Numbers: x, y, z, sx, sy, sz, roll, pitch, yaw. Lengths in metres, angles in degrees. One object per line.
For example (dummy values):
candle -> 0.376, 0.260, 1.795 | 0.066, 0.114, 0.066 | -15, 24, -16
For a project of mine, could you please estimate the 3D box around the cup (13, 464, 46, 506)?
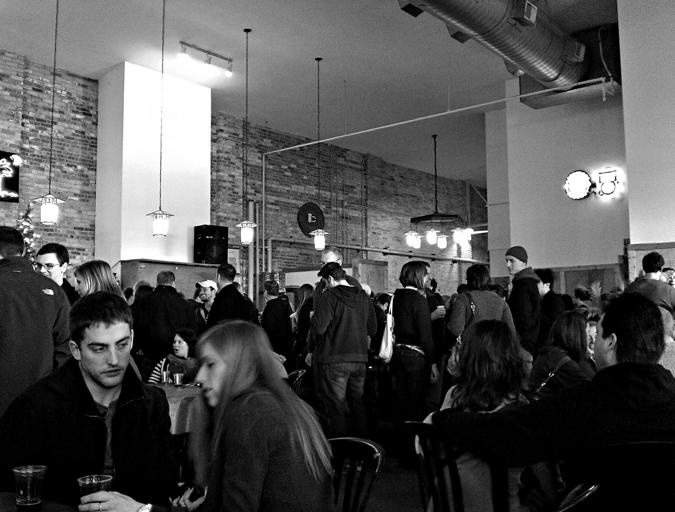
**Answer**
cup -> -1.334, 0.989, 3.012 | 0.118, 0.184, 0.120 | 2, 0, 0

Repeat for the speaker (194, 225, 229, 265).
speaker -> -2.115, -0.181, 11.504 | 0.564, 0.843, 0.394 | -3, 5, -43

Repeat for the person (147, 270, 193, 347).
person -> -1.687, 0.680, 6.903 | 0.475, 1.140, 0.355 | 0, 20, -17

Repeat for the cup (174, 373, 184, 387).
cup -> -1.265, 0.986, 5.534 | 0.083, 0.086, 0.073 | 1, -4, -10

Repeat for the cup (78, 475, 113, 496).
cup -> -1.029, 0.968, 2.972 | 0.114, 0.095, 0.118 | 2, -8, 0

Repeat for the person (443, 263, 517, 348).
person -> 1.283, 0.578, 6.251 | 0.546, 1.010, 0.513 | 1, -7, -10

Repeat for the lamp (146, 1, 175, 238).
lamp -> -2.686, -1.832, 10.720 | 0.350, 3.632, 1.628 | 1, 0, -14
